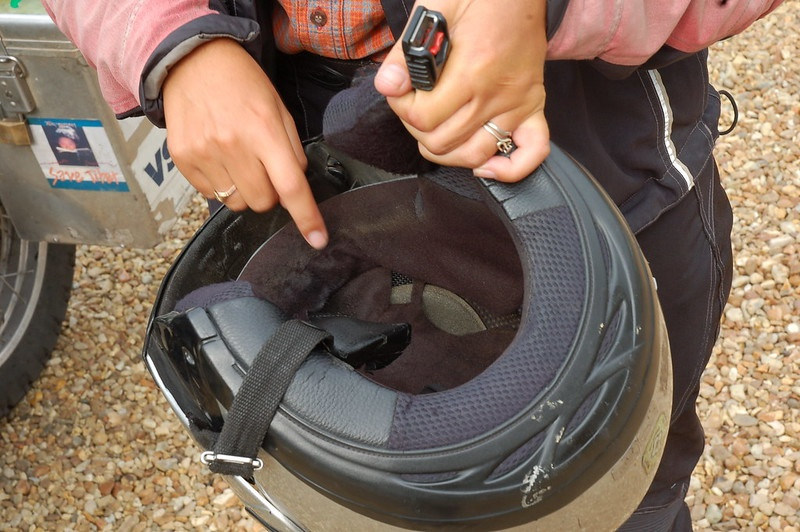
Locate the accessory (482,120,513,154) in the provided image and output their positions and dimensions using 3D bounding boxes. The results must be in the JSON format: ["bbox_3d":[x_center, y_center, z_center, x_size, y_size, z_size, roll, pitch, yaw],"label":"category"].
[{"bbox_3d":[0.197,-0.258,1.436,0.068,0.020,0.043,46,104,10],"label":"accessory"}]

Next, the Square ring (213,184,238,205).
[{"bbox_3d":[-0.423,-0.169,1.710,0.049,0.026,0.041,-4,45,30],"label":"Square ring"}]
